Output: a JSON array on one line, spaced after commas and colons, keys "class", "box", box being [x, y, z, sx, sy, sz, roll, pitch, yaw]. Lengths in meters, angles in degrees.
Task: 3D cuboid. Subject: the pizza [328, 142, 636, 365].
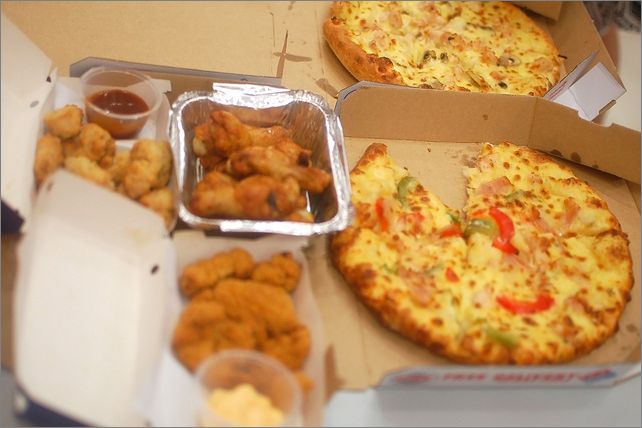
[{"class": "pizza", "box": [0.940, 0.216, 3.221, 1.738, 0.243, 1.352, -4, 58, -8]}]
